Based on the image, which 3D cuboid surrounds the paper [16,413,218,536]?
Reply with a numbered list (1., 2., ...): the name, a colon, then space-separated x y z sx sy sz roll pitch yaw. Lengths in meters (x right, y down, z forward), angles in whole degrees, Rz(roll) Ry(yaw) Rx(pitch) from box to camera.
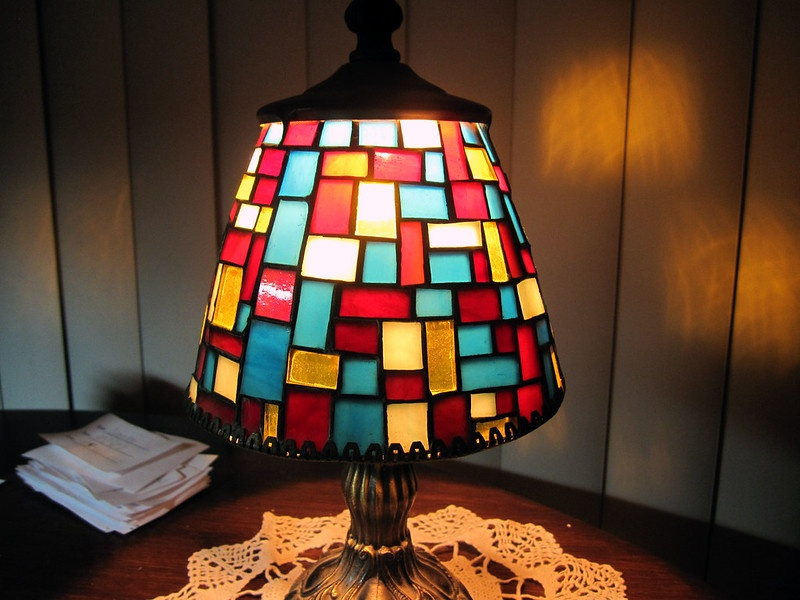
1. paper: -0.616 0.352 1.652 0.394 0.098 0.402 14 11 -22
